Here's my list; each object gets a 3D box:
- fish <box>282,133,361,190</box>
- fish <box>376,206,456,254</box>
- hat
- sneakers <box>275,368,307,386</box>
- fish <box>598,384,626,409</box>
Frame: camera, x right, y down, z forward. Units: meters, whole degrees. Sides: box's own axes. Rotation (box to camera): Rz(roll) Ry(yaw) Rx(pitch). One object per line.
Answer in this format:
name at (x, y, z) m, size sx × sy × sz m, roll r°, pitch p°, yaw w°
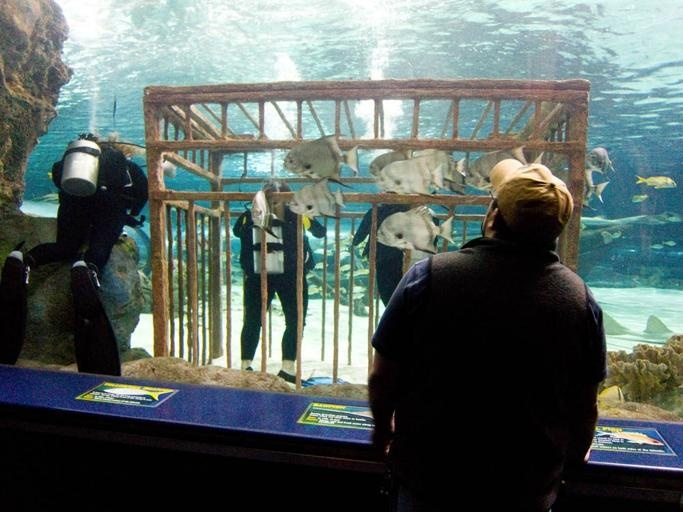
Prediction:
fish at (-0.263, -1.239, 8.141) m, size 0.939 × 0.626 × 0.269 m, roll 1°, pitch 1°, yaw 3°
fish at (0.926, -0.338, 8.088) m, size 1.148 × 0.495 × 0.484 m, roll 1°, pitch 9°, yaw 6°
hat at (1.884, -0.551, 6.364) m, size 0.791 × 0.765 × 0.917 m, roll -7°, pitch 38°, yaw 1°
sneakers at (-0.702, 1.833, 9.382) m, size 0.597 × 0.187 × 0.188 m, roll 10°, pitch 8°, yaw 20°
fish at (3.724, 1.937, 8.569) m, size 0.449 × 0.089 × 0.372 m, roll -16°, pitch 11°, yaw -11°
